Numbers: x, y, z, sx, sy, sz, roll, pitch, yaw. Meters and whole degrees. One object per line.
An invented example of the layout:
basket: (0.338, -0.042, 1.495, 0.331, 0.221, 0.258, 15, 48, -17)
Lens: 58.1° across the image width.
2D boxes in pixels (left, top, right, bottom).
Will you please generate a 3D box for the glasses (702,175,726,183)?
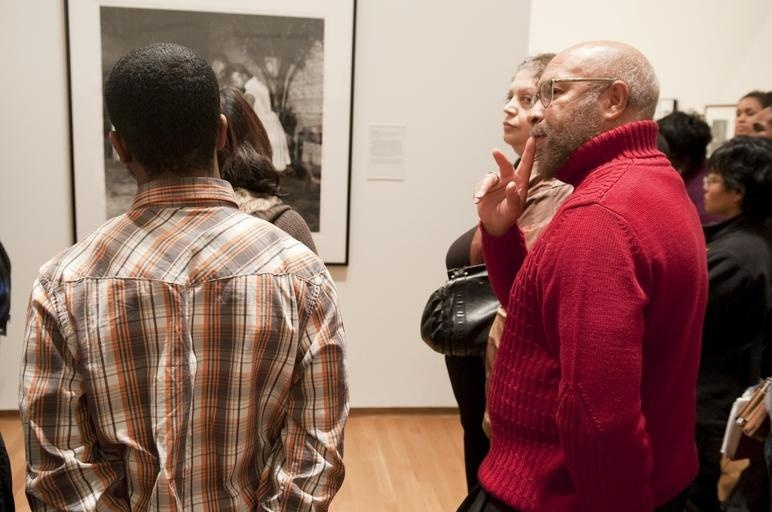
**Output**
glasses: (1.591, -0.366, 3.318, 0.067, 0.022, 0.068, 11, 6, 0)

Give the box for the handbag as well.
handbag: (0.310, 0.239, 2.871, 0.286, 0.167, 0.392, -3, 49, 14)

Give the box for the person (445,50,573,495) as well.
person: (0.514, -0.032, 3.356, 0.410, 1.679, 0.416, 16, 34, 15)
